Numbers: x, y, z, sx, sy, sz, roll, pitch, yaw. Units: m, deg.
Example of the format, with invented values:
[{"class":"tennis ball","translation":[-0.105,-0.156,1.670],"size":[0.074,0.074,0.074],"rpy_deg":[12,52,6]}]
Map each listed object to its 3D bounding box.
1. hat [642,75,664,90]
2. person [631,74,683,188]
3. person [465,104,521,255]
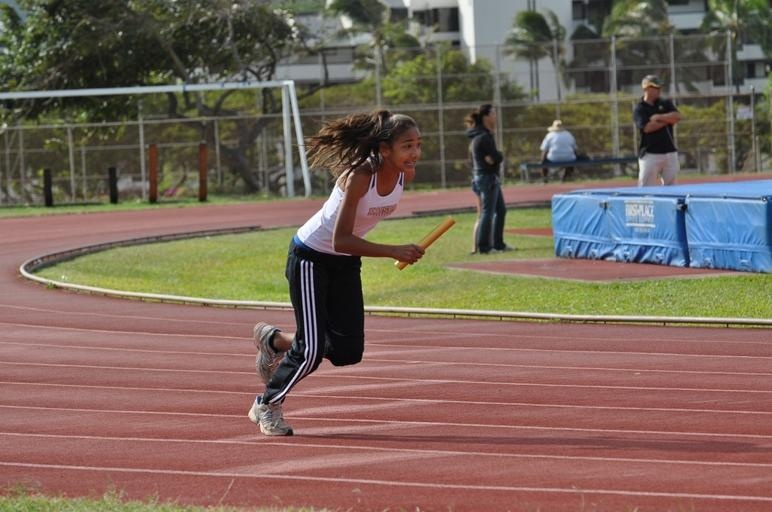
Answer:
[{"class":"hat","translation":[4.867,-3.186,23.963],"size":[0.306,0.238,0.328],"rpy_deg":[-3,3,1]},{"class":"person","translation":[4.987,-2.317,24.057],"size":[0.791,2.051,1.009],"rpy_deg":[-3,3,12]},{"class":"person","translation":[1.885,-1.424,24.049],"size":[0.714,2.779,0.836],"rpy_deg":[-3,3,4]}]
